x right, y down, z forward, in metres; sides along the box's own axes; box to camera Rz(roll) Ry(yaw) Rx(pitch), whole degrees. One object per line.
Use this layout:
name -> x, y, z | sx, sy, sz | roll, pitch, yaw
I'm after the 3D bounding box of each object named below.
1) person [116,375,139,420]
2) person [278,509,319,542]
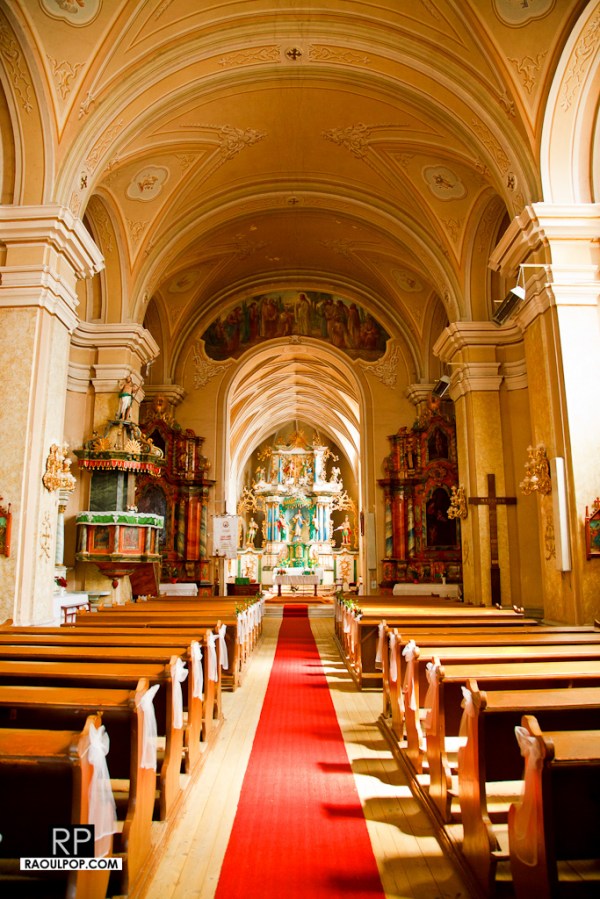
person -> -2.952, -0.888, 10.958 | 0.309, 0.939, 0.696 | -1, -10, -10
person -> -0.052, 3.259, 27.016 | 1.198, 1.257, 0.396 | 1, -10, -4
